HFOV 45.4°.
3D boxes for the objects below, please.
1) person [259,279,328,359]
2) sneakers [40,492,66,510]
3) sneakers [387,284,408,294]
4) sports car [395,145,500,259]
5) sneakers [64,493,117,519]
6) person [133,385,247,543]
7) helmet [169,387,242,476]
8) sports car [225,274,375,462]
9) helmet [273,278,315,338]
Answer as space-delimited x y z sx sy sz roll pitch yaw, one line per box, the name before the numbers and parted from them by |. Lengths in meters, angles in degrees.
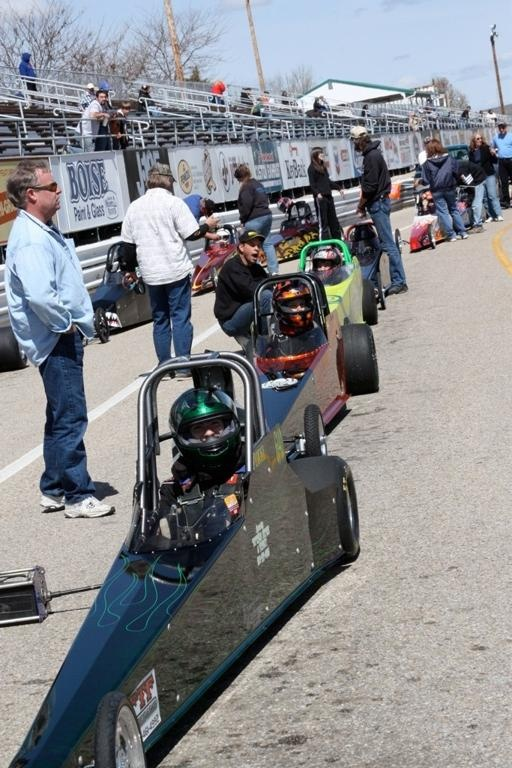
person | 0.332 -0.493 5.632 0.571 0.713 0.713 -2 53 3
sneakers | -1.511 0.872 4.513 0.259 0.129 0.098 0 4 36
sneakers | 2.497 -1.705 11.015 0.467 0.195 0.151 -8 5 -36
sports car | 4.817 -4.855 15.852 1.677 1.556 4.164 -8 20 27
sneakers | -1.145 0.862 4.286 0.346 0.177 0.152 -3 4 5
person | -0.272 0.341 2.722 0.341 0.760 0.312 1 -9 25
helmet | -0.211 0.188 2.843 0.289 0.308 0.384 -15 28 0
sports car | 0.347 -0.136 5.101 0.839 0.901 1.770 -9 17 19
helmet | 0.283 -0.696 5.712 0.381 0.481 0.480 -9 -6 -7
